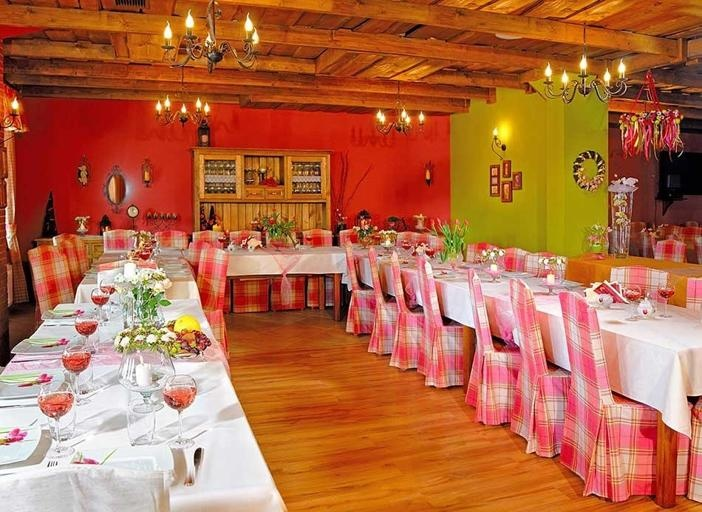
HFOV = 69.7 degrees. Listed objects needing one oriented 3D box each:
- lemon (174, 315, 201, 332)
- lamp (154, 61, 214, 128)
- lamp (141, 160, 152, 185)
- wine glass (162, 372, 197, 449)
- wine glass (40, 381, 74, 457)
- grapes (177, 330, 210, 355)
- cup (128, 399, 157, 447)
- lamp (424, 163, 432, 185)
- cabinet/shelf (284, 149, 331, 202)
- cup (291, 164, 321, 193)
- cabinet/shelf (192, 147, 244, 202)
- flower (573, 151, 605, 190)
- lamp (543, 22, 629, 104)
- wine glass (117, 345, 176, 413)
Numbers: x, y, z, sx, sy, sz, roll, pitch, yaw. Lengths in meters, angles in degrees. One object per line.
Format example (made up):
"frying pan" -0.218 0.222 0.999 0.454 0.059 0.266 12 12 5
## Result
"lemon" -0.907 0.380 2.805 0.093 0.102 0.096 -19 -23 40
"lamp" -2.686 -2.632 8.061 0.738 1.096 0.763 -4 7 -30
"lamp" -3.709 -1.522 9.188 0.190 0.468 0.107 -4 8 -23
"wine glass" -0.665 0.565 1.961 0.108 0.237 0.307 -4 8 -22
"wine glass" -1.060 0.570 1.830 0.104 0.241 0.225 -6 9 -32
"grapes" -0.848 0.456 2.703 0.106 0.065 0.148 6 11 -19
"cup" -0.791 0.630 1.950 0.113 0.200 0.125 -2 1 -21
"lamp" 1.621 -1.747 10.702 0.167 0.425 0.110 3 -1 1
"cabinet/shelf" -0.856 -1.524 9.511 0.872 0.942 0.358 0 0 -19
"cup" -0.896 -1.489 9.541 0.489 0.543 0.243 0 4 -4
"cabinet/shelf" -2.410 -1.394 9.190 0.827 0.986 0.383 -2 -24 -13
"flower" 3.664 -1.338 7.846 0.575 0.602 0.152 -4 8 -25
"lamp" 2.800 -2.385 6.080 0.911 1.007 1.002 -11 18 -21
"wine glass" -0.835 0.491 2.134 0.226 0.289 0.228 0 1 -15
